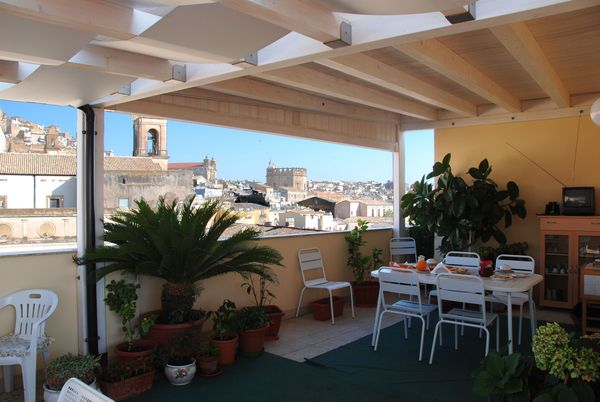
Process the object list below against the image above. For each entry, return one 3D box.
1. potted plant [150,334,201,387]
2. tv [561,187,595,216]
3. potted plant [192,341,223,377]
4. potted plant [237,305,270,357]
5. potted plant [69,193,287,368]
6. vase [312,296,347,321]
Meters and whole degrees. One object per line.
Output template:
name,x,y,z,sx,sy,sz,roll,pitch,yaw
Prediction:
potted plant,-1.392,1.777,4.711,0.487,0.348,0.502,-2,-8,1
tv,4.628,0.051,7.036,0.538,0.505,0.499,-2,-6,34
potted plant,-1.100,1.837,4.951,0.315,0.324,0.307,-2,5,-17
potted plant,-0.608,1.655,5.432,0.497,0.477,0.502,2,1,36
potted plant,-1.437,0.816,5.102,1.799,1.200,1.766,1,-1,26
vase,0.390,1.702,6.667,0.368,0.151,0.373,-3,-1,39
